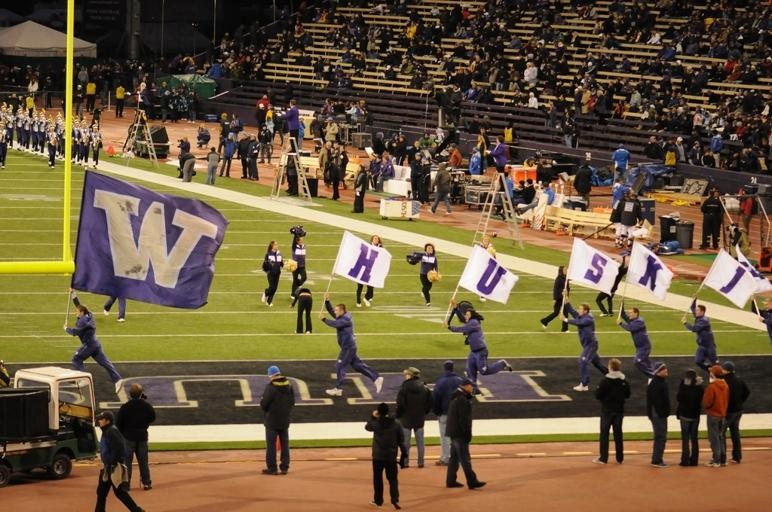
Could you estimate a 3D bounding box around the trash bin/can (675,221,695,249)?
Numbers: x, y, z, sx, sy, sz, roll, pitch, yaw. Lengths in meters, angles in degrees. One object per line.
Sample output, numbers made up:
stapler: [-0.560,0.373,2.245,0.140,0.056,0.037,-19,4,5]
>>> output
trash bin/can: [12.190,-0.865,59.633,1.149,1.186,1.055,0,4,4]

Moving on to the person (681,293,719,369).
person: [9.613,2.567,44.580,0.931,2.524,0.882,-9,-5,38]

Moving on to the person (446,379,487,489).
person: [2.060,4.676,38.064,0.976,2.827,0.876,5,5,4]

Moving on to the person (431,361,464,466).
person: [1.753,4.315,39.144,0.771,2.778,1.080,10,-12,-31]

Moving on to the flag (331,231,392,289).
flag: [-0.754,0.089,45.751,1.720,1.708,0.657,1,6,-33]

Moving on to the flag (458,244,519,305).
flag: [3.196,0.574,45.872,1.604,1.774,1.092,4,5,3]

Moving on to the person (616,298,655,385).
person: [7.525,2.580,44.065,1.173,2.383,0.899,0,-4,-28]

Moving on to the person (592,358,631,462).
person: [6.147,4.190,39.826,0.901,2.876,1.516,5,5,10]

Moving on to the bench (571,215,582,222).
bench: [7.945,-1.576,61.020,0.285,0.237,0.079,-7,-10,40]

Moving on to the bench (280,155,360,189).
bench: [-2.941,-3.992,67.366,3.165,1.363,6.080,4,5,2]

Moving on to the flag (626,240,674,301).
flag: [8.426,0.487,46.804,1.363,1.794,0.802,5,5,8]

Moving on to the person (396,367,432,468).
person: [0.633,4.391,39.098,1.114,2.610,1.011,2,-5,-27]

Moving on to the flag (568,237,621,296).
flag: [6.458,0.311,46.084,1.765,1.693,0.401,1,6,-30]

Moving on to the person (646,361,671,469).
person: [7.326,4.319,39.436,0.640,2.742,0.999,5,5,10]

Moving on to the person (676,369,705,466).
person: [8.231,4.398,39.667,0.741,2.618,0.805,5,5,11]

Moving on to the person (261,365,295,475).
person: [-2.808,4.442,38.810,1.262,2.521,0.849,1,-8,-6]

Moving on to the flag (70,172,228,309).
flag: [-5.966,-0.444,36.726,3.224,3.090,1.066,4,5,-2]

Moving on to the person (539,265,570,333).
person: [5.791,1.406,48.409,0.891,2.107,0.917,6,-2,-11]

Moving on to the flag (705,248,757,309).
flag: [10.912,0.754,46.406,1.429,1.913,0.965,-6,-2,-30]

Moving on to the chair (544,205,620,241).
chair: [8.085,-1.417,61.234,0.925,1.148,3.099,-1,6,-43]

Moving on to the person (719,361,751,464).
person: [9.528,4.378,40.093,0.930,2.712,1.126,3,-6,-40]

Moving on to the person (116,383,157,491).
person: [-6.484,4.755,37.621,0.915,2.739,1.108,-10,-14,38]

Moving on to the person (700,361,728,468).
person: [8.855,4.350,39.769,1.014,2.655,1.070,-1,-3,34]

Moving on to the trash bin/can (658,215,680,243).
trash bin/can: [11.493,-1.114,59.495,0.723,1.083,0.569,5,5,11]
